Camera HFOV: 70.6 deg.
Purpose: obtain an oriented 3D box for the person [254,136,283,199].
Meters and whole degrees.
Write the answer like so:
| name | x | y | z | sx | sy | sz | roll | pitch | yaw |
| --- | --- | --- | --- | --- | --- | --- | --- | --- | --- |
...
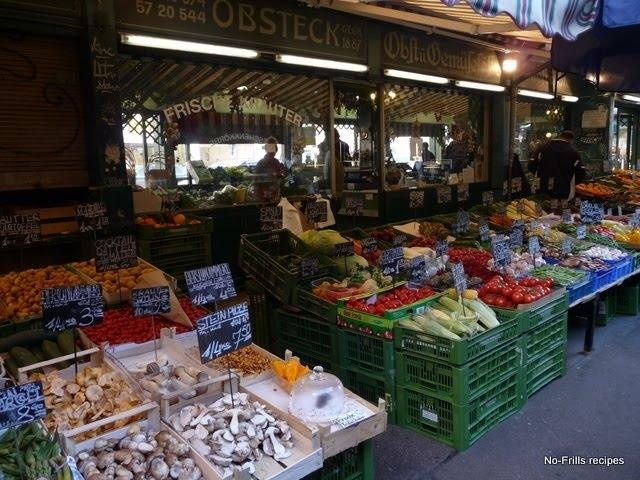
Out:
| name | x | y | z | sx | sy | sz | roll | pitch | yaw |
| --- | --- | --- | --- | --- | --- | --- | --- | --- | --- |
| person | -0.819 | -1.105 | 7.116 | 0.335 | 1.010 | 0.326 | -12 | 22 | -39 |

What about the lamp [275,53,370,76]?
| name | x | y | z | sx | sy | sz | roll | pitch | yaw |
| --- | --- | --- | --- | --- | --- | --- | --- | --- | --- |
| lamp | 0.022 | -2.670 | 6.854 | 1.696 | 0.161 | 0.265 | -12 | 18 | -37 |
